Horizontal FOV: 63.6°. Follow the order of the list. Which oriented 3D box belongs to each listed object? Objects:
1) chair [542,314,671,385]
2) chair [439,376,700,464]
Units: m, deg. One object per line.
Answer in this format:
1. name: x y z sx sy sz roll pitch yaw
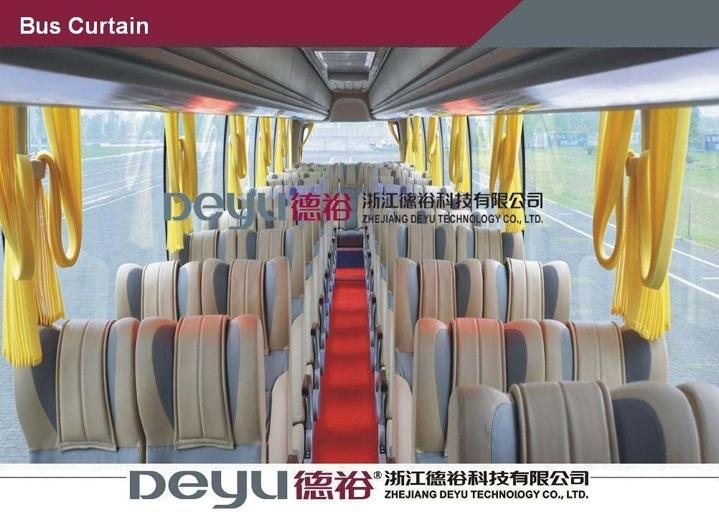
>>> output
1. chair: 1.228 0.476 2.977 0.498 0.428 0.376 -1 -1 0
2. chair: 0.651 0.518 1.807 0.748 0.247 0.135 0 -4 1
